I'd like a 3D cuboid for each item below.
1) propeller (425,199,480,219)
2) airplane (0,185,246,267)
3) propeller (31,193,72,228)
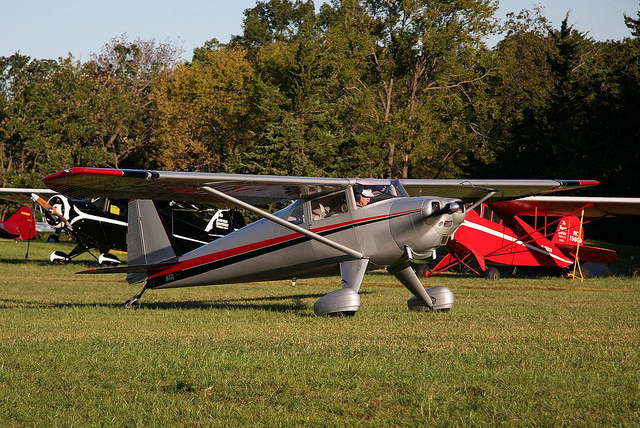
[{"bbox_3d":[3.397,-0.121,21.891,0.943,0.443,0.207,0,15,0],"label":"propeller"},{"bbox_3d":[-8.655,0.275,34.661,5.248,1.442,5.790,12,-10,-30],"label":"airplane"},{"bbox_3d":[-11.445,-0.319,33.751,0.328,0.333,2.358,15,-25,39],"label":"propeller"}]
